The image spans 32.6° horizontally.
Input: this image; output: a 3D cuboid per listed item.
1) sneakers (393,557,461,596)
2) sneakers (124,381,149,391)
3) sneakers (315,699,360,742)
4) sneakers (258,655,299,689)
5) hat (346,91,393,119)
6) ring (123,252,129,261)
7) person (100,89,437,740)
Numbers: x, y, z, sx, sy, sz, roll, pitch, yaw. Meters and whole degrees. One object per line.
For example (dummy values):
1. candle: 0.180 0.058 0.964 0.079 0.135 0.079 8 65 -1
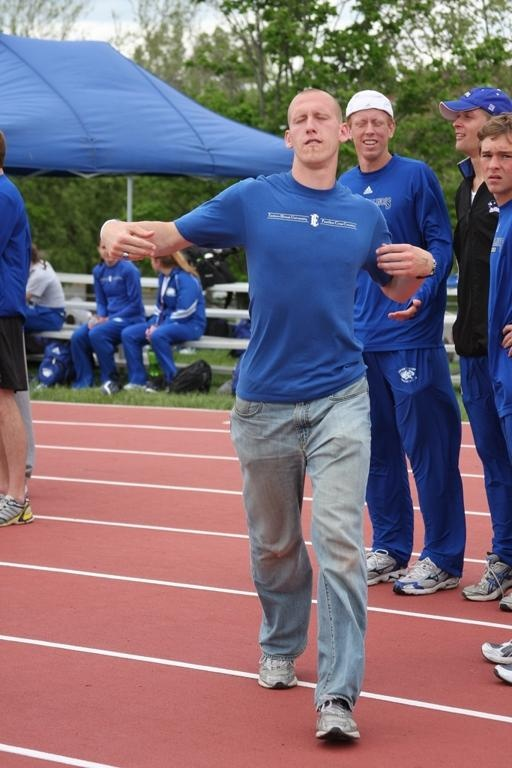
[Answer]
1. sneakers: 0.861 0.987 4.475 0.378 0.160 0.131 2 -5 -27
2. sneakers: -1.637 0.045 11.829 0.367 0.144 0.120 3 -3 -4
3. sneakers: 0.243 1.025 2.680 0.099 0.085 0.203 1 4 4
4. sneakers: 0.081 1.055 3.231 0.077 0.074 0.174 2 4 -1
5. hat: 0.568 -1.359 4.309 0.179 0.107 0.170 2 10 11
6. ring: -0.435 -0.422 2.893 0.028 0.034 0.013 3 -1 1
7. person: 0.094 0.068 2.957 0.759 2.111 0.711 3 6 24
